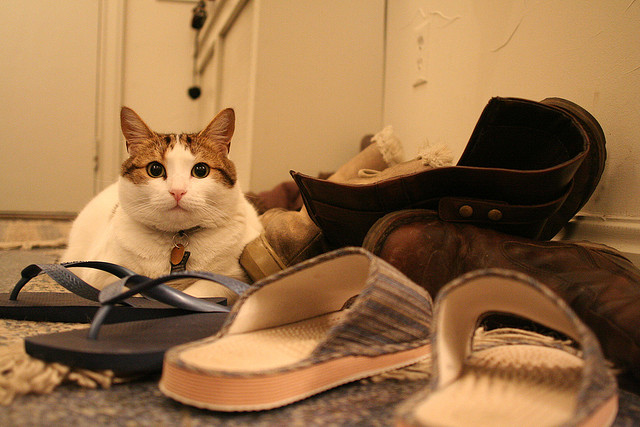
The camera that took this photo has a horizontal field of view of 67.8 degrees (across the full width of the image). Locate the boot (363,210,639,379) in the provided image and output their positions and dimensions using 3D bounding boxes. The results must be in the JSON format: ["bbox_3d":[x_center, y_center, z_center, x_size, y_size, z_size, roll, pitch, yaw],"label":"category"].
[{"bbox_3d":[0.310,0.123,1.117,0.709,0.238,0.278,15,-3,4],"label":"boot"}]

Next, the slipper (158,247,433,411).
[{"bbox_3d":[-0.030,0.185,0.990,0.546,0.221,0.259,-3,3,-28],"label":"slipper"}]

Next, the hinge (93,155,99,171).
[{"bbox_3d":[-1.375,-0.306,2.893,0.034,0.086,0.029,-7,30,-23],"label":"hinge"}]

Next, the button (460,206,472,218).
[{"bbox_3d":[0.340,-0.004,1.088,0.023,0.022,0.005,9,15,7],"label":"button"}]

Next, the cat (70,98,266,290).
[{"bbox_3d":[-0.564,-0.052,1.723,0.539,0.544,1.132,5,5,-26],"label":"cat"}]

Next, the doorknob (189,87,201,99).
[{"bbox_3d":[-0.897,-0.849,3.341,0.070,0.069,0.048,-2,28,-15],"label":"doorknob"}]
